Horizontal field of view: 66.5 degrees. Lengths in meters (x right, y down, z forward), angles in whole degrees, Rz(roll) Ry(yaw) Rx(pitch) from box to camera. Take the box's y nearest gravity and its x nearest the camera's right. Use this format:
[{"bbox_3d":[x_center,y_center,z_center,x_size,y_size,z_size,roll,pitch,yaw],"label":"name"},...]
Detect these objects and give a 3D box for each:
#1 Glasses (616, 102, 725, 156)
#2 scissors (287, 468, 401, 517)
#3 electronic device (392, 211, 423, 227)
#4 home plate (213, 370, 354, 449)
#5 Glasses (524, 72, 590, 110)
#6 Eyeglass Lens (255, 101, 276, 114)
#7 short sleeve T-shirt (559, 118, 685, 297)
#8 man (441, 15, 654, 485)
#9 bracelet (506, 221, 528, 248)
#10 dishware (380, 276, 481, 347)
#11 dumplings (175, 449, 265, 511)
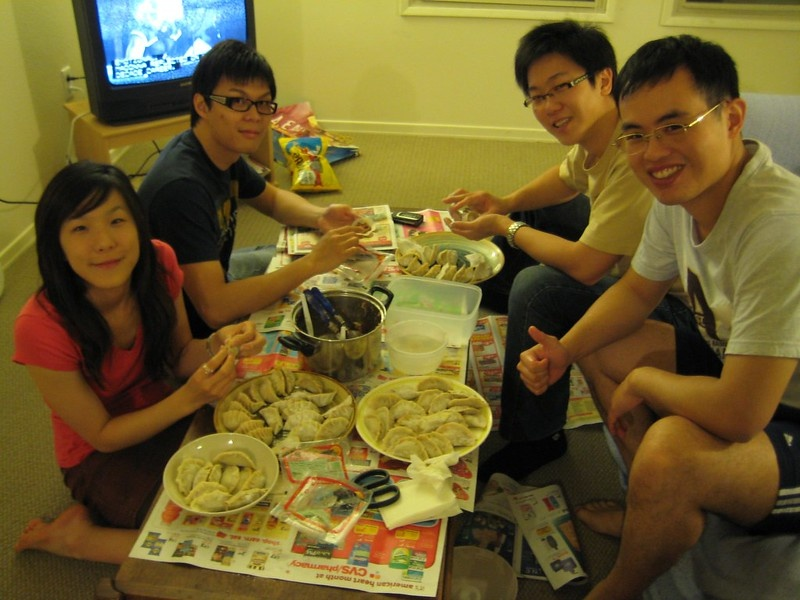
[{"bbox_3d":[0.655,-0.424,1.516,0.240,0.129,0.133,12,28,28],"label":"Glasses"},{"bbox_3d":[-0.082,0.446,1.439,0.160,0.039,0.101,-3,24,-2],"label":"scissors"},{"bbox_3d":[0.027,-0.338,2.489,0.110,0.028,0.063,9,35,17],"label":"electronic device"},{"bbox_3d":[-0.300,0.279,1.594,0.357,0.107,0.226,-7,25,-12],"label":"home plate"},{"bbox_3d":[0.567,-0.742,2.129,0.115,0.033,0.113,-40,21,-21],"label":"Glasses"},{"bbox_3d":[-0.467,-0.659,2.098,0.066,0.019,0.064,37,42,28],"label":"Eyeglass Lens"},{"bbox_3d":[0.692,-0.278,1.882,0.283,0.482,0.349,-17,54,18],"label":"short sleeve T-shirt"},{"bbox_3d":[0.606,-0.250,2.422,0.967,1.526,0.843,-8,21,-2],"label":"man"},{"bbox_3d":[0.452,-0.258,2.295,0.073,0.107,0.115,0,-9,19],"label":"bracelet"},{"bbox_3d":[0.105,0.024,1.998,0.292,0.100,0.205,9,41,12],"label":"dishware"},{"bbox_3d":[-0.429,0.418,1.410,0.143,0.043,0.137,12,23,-9],"label":"dumplings"}]
